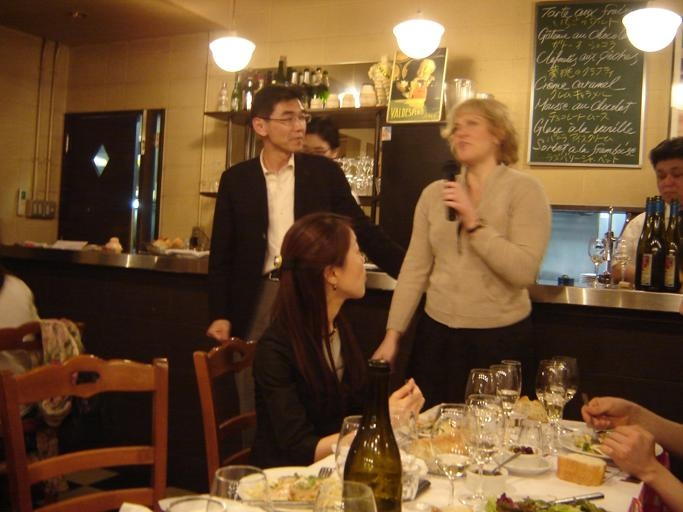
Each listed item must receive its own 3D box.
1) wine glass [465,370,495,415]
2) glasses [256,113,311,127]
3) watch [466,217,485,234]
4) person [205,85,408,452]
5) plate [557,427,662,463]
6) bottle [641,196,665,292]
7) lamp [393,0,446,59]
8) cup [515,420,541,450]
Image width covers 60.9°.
[{"bbox_3d":[0.426,0.413,1.794,0.088,0.122,0.088,6,-1,28],"label":"wine glass"},{"bbox_3d":[-0.288,-0.653,2.793,0.225,0.064,0.105,0,4,-20],"label":"glasses"},{"bbox_3d":[0.531,-0.124,2.333,0.055,0.016,0.055,-26,7,-42],"label":"watch"},{"bbox_3d":[-0.066,0.287,2.980,1.143,2.194,0.520,3,16,11],"label":"person"},{"bbox_3d":[0.780,0.551,1.694,0.145,0.026,0.147,0,2,0],"label":"plate"},{"bbox_3d":[1.452,-0.025,2.721,0.114,0.351,0.060,3,4,30],"label":"bottle"},{"bbox_3d":[0.595,-1.807,4.635,0.425,0.401,0.422,0,0,-4],"label":"lamp"},{"bbox_3d":[0.567,0.533,1.740,0.055,0.057,0.043,-7,-4,28],"label":"cup"}]
